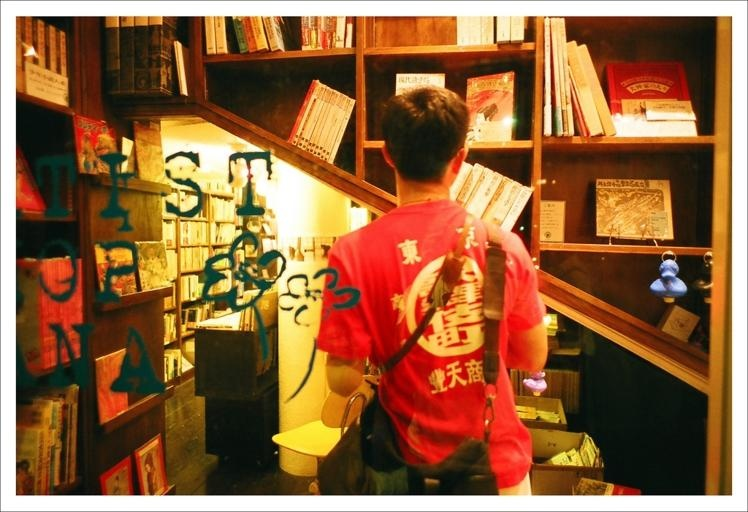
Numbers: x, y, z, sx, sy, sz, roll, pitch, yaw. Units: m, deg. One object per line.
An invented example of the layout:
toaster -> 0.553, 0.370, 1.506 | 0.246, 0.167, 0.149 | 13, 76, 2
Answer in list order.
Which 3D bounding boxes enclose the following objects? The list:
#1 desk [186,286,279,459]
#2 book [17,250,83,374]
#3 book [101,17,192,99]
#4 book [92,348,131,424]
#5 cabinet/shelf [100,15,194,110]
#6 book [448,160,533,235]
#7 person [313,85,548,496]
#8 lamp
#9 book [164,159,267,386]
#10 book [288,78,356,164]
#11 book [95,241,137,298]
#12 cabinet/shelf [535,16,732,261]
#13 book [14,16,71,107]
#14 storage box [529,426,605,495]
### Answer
desk -> -0.825, 0.731, 3.744 | 0.339, 0.833, 0.854 | -1, -2, -8
book -> -1.438, 0.257, 2.729 | 0.255, 0.496, 0.160 | -2, 6, -31
book -> -1.169, -0.939, 3.208 | 0.334, 0.464, 0.458 | -1, 4, -8
book -> -1.242, 0.614, 2.912 | 0.147, 0.359, 0.087 | -1, 6, -24
cabinet/shelf -> -1.141, -0.971, 3.220 | 0.338, 0.487, 0.497 | 0, 5, 4
book -> 0.531, -0.259, 2.801 | 0.300, 0.184, 0.333 | 16, -27, 2
person -> 0.236, 0.140, 2.462 | 0.888, 1.597, 0.243 | 3, 5, 16
lamp -> -0.300, -0.170, 2.907 | 0.371, 0.370, 0.173 | 1, -19, -32
book -> -0.720, 0.047, 2.903 | 0.723, 1.087, 0.420 | 6, 7, 36
book -> -0.249, -0.666, 3.018 | 0.297, 0.424, 0.124 | 18, -1, 12
book -> -1.212, 0.050, 2.991 | 0.213, 0.326, 0.073 | 1, 0, -13
cabinet/shelf -> 1.173, -0.579, 2.979 | 1.097, 1.106, 0.320 | -2, 8, -16
book -> -1.500, -0.885, 2.789 | 0.092, 0.372, 0.229 | 4, 6, 22
storage box -> 0.994, 1.036, 3.184 | 0.321, 0.208, 0.327 | 1, 5, 7
